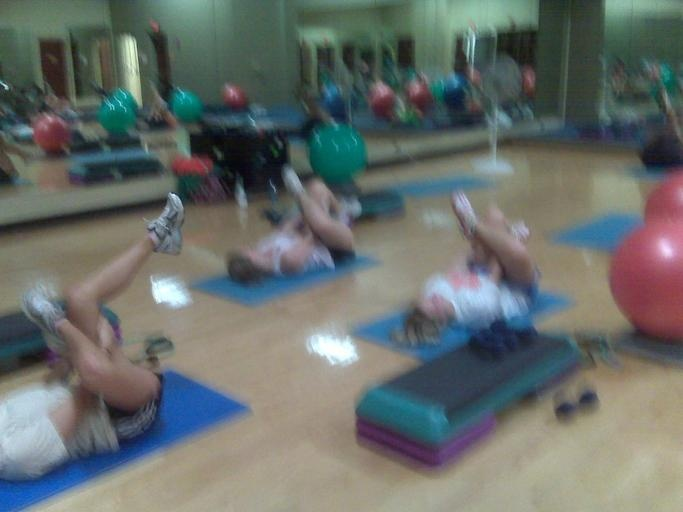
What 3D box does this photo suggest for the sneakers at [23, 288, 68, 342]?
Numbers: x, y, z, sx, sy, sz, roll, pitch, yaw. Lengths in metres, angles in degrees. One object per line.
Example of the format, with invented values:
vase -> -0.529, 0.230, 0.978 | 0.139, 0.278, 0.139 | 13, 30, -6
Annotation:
sneakers -> -0.888, 0.167, 1.538 | 0.109, 0.087, 0.198 | -26, 12, -5

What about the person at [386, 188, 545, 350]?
person -> 0.544, 0.060, 2.152 | 0.455, 0.842, 0.355 | -2, 45, -7

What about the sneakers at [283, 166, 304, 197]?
sneakers -> -0.254, -0.407, 2.857 | 0.094, 0.191, 0.064 | -27, -1, -9

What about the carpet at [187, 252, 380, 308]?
carpet -> -0.293, 0.126, 2.703 | 0.905, 0.099, 0.418 | -15, 18, -17
